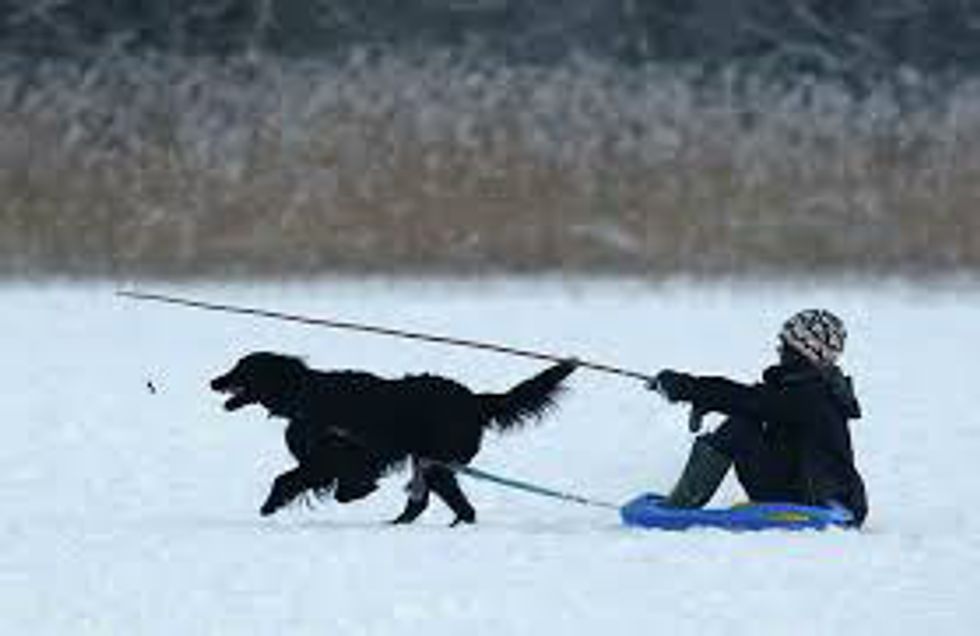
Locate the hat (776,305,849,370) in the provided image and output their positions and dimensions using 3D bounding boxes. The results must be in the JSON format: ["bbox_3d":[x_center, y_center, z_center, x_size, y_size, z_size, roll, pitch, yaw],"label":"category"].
[{"bbox_3d":[4.762,0.191,24.313,1.015,0.737,0.754,31,23,16],"label":"hat"}]

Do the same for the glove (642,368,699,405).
[{"bbox_3d":[2.620,0.952,24.029,0.720,0.384,0.279,6,-6,20],"label":"glove"}]
